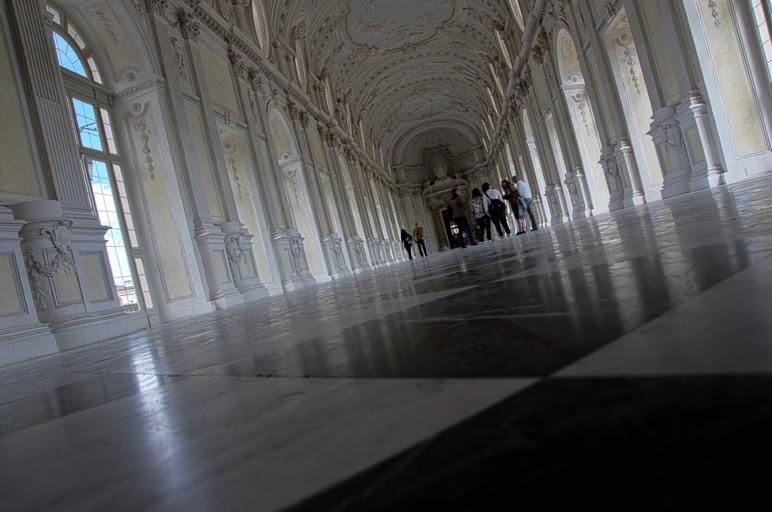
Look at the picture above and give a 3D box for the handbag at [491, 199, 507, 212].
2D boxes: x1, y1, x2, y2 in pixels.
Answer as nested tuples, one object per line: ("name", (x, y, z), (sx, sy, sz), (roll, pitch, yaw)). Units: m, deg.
("handbag", (3.587, -1.610, 13.910), (0.216, 0.433, 0.636), (-13, 0, 41))
